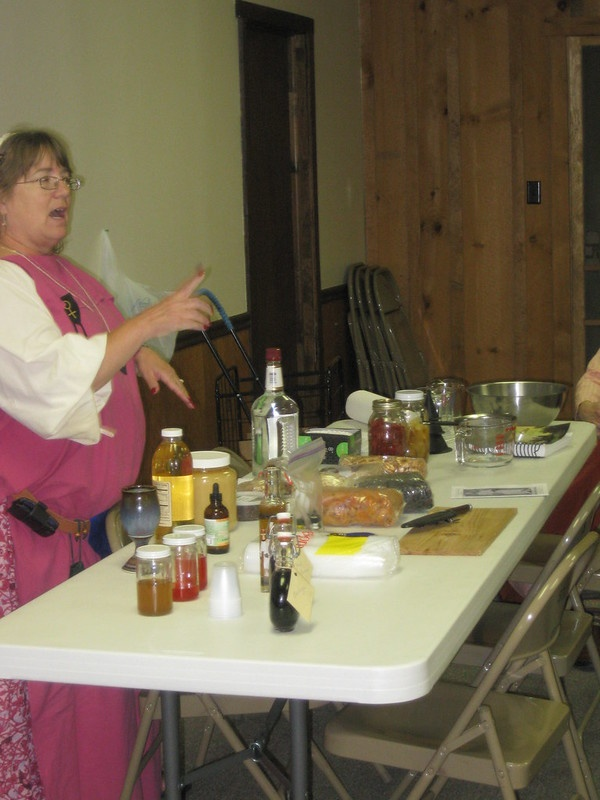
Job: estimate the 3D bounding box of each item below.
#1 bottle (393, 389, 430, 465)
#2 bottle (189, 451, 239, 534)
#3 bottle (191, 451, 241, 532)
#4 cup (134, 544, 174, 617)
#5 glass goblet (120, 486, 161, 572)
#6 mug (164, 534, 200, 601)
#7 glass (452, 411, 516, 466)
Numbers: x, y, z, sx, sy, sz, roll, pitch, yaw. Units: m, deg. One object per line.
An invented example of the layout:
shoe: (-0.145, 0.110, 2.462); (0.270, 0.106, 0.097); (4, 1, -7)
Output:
bottle: (0.283, 0.071, 2.075); (0.120, 0.179, 0.111); (0, 4, 0)
bottle: (-0.150, 0.171, 1.443); (0.109, 0.138, 0.137); (0, 5, 3)
bottle: (-0.154, 0.166, 1.489); (0.092, 0.116, 0.121); (-4, 4, 32)
cup: (-0.209, 0.256, 1.089); (0.078, 0.085, 0.073); (-2, -8, 0)
glass goblet: (-0.264, 0.214, 1.285); (0.065, 0.128, 0.063); (-4, -6, 16)
mug: (-0.183, 0.256, 1.163); (0.066, 0.093, 0.061); (3, -14, -27)
glass: (0.483, 0.120, 2.109); (0.209, 0.131, 0.149); (0, 0, -28)
